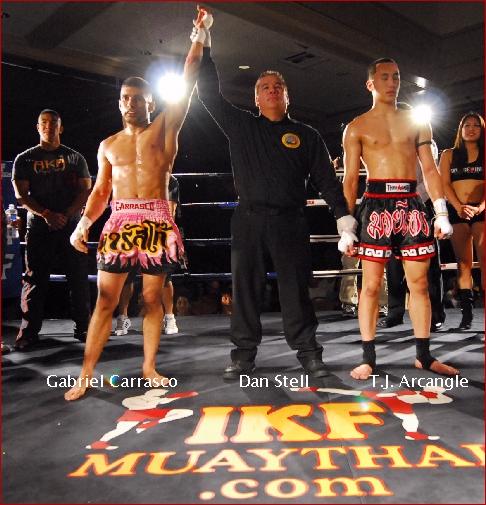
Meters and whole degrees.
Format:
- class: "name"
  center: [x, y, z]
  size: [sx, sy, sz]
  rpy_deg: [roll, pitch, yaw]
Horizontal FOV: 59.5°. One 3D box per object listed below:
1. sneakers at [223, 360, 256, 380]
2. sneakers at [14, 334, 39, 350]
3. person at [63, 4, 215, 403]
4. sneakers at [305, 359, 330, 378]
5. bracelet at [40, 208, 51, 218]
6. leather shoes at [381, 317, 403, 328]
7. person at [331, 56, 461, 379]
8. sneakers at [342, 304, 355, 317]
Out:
- class: "sneakers"
  center: [-0.017, 0.569, 2.090]
  size: [0.144, 0.063, 0.193]
  rpy_deg: [-1, -1, 6]
- class: "sneakers"
  center: [-1.431, 0.592, 2.808]
  size: [0.139, 0.072, 0.208]
  rpy_deg: [-1, -1, -24]
- class: "person"
  center: [-0.483, -0.286, 2.028]
  size: [0.675, 1.786, 0.368]
  rpy_deg: [-1, -2, -13]
- class: "sneakers"
  center: [0.351, 0.550, 2.038]
  size: [0.138, 0.075, 0.097]
  rpy_deg: [-2, -1, 20]
- class: "bracelet"
  center: [-1.322, -0.272, 2.857]
  size: [0.051, 0.052, 0.012]
  rpy_deg: [-30, -34, -18]
- class: "leather shoes"
  center: [1.186, 0.554, 3.386]
  size: [0.213, 0.081, 0.072]
  rpy_deg: [-1, -3, -11]
- class: "person"
  center: [0.771, -0.190, 2.108]
  size: [0.518, 1.541, 0.339]
  rpy_deg: [-2, -2, 12]
- class: "sneakers"
  center: [0.985, 0.529, 3.903]
  size: [0.129, 0.118, 0.078]
  rpy_deg: [-2, -5, 21]
